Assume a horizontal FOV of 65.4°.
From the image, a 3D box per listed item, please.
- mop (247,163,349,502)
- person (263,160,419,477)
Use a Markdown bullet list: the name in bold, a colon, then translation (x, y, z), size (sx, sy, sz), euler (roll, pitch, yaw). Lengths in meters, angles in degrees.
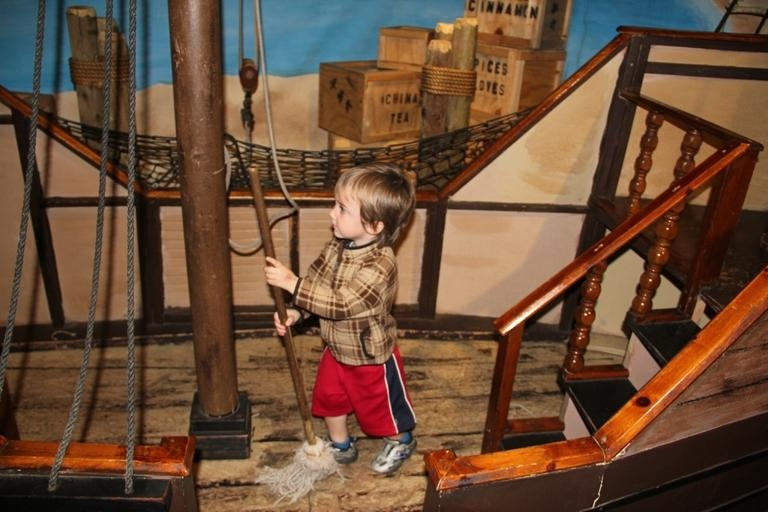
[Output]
- **mop**: translation (-0.482, 0.426, 2.990), size (0.529, 1.664, 0.573), euler (-14, 32, -19)
- **person**: translation (-0.201, 0.414, 3.121), size (1.008, 1.607, 0.639), euler (-2, 18, -13)
